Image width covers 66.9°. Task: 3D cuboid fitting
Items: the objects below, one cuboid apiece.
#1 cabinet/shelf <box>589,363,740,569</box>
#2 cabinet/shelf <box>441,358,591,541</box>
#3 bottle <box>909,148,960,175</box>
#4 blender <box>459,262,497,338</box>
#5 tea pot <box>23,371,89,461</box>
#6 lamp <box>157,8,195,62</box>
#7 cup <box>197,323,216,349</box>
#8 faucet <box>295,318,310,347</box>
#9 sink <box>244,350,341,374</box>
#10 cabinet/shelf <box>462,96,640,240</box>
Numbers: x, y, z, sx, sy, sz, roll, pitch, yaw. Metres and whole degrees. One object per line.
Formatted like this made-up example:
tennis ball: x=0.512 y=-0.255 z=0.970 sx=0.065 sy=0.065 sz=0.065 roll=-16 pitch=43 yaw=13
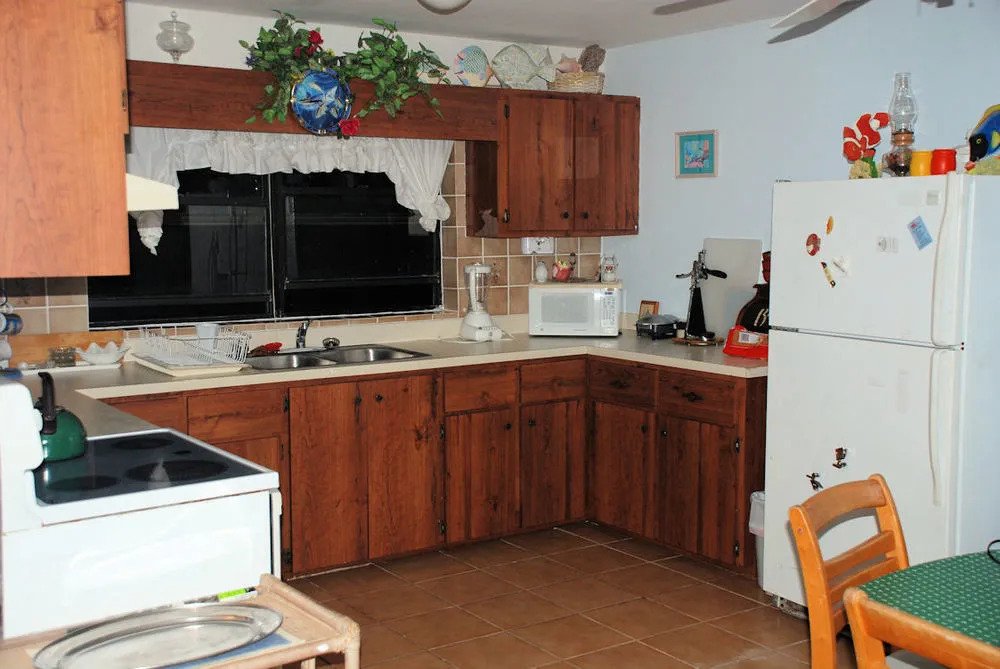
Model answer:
cabinet/shelf: x=0.970 y=0.748 z=4.302 sx=0.482 sy=1.012 sz=1.195 roll=-3 pitch=6 yaw=-39
cabinet/shelf: x=0.054 y=0.677 z=4.536 sx=1.179 sy=0.983 sz=0.429 roll=-4 pitch=10 yaw=-25
bottle: x=1.898 y=-0.730 z=3.287 sx=0.167 sy=0.135 sz=0.154 roll=0 pitch=9 yaw=-8
blender: x=-0.161 y=-0.213 z=4.921 sx=0.153 sy=0.489 sz=0.296 roll=-9 pitch=13 yaw=-38
tea pot: x=-1.465 y=0.284 z=2.562 sx=0.215 sy=0.267 sz=0.310 roll=-2 pitch=6 yaw=-37
lamp: x=-1.786 y=-1.643 z=4.137 sx=0.190 sy=0.316 sz=0.309 roll=-4 pitch=11 yaw=-20
cup: x=-1.610 y=0.005 z=4.150 sx=0.101 sy=0.134 sz=0.174 roll=-8 pitch=12 yaw=-34
faucet: x=-1.200 y=-0.005 z=4.558 sx=0.083 sy=0.173 sz=0.178 roll=-3 pitch=10 yaw=-14
sink: x=-1.215 y=0.157 z=4.397 sx=0.295 sy=0.110 sz=0.220 roll=-9 pitch=16 yaw=-39
cabinet/shelf: x=0.284 y=-1.112 z=4.954 sx=1.114 sy=0.808 sz=0.406 roll=1 pitch=2 yaw=-27
